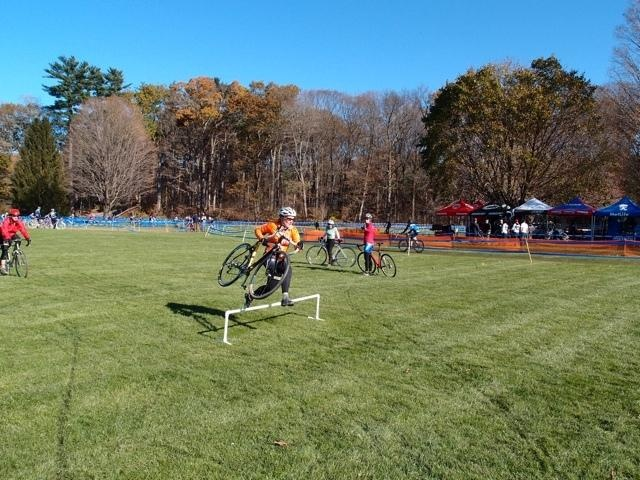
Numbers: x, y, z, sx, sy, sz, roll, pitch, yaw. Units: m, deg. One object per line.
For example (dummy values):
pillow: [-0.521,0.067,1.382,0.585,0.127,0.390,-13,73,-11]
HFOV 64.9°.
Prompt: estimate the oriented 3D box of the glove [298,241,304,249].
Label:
glove: [-0.392,0.113,9.859,0.097,0.070,0.141,9,8,-29]

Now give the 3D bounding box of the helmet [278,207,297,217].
helmet: [-0.611,-0.506,9.671,0.280,0.226,0.449,0,9,-10]

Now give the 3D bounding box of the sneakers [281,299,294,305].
sneakers: [-0.631,1.198,9.583,0.220,0.161,0.221,0,9,-7]

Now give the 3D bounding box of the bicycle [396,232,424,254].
bicycle: [5.236,0.303,28.956,1.531,1.043,0.809,1,7,5]

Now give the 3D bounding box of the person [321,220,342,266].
person: [0.464,0.142,18.553,0.570,1.816,1.028,1,9,-2]

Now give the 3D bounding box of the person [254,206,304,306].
person: [-0.836,0.251,9.771,0.834,1.875,1.220,-2,15,-43]

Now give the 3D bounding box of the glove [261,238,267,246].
glove: [-1.076,0.045,9.613,0.098,0.035,0.105,7,-28,30]

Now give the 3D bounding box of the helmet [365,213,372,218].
helmet: [1.638,-0.792,16.654,0.224,0.126,0.329,2,3,-8]
